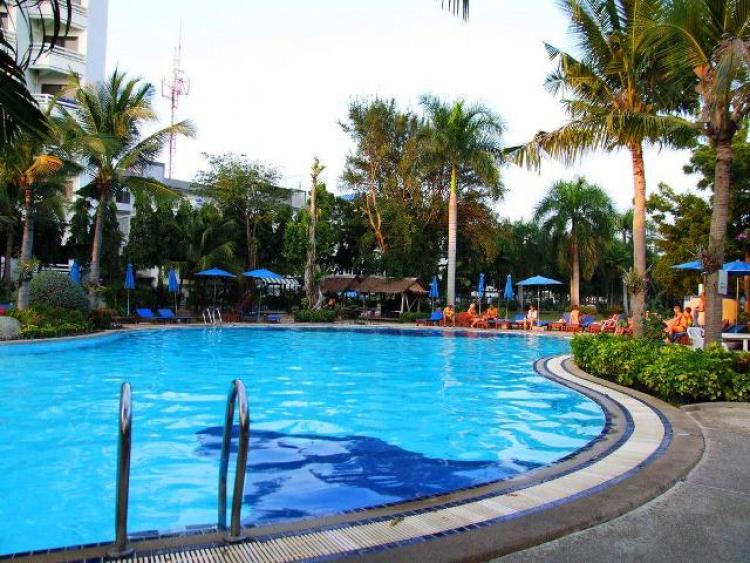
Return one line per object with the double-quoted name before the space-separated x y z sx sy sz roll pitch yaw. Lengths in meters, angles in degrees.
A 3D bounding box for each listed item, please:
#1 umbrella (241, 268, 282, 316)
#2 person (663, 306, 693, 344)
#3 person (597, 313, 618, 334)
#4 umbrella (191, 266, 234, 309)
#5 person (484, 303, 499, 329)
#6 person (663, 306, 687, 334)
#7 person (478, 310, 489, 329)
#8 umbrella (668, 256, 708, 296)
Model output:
"umbrella" -6.927 0.626 36.037 2.537 3.215 2.784 5 7 -4
"person" 9.745 1.455 19.672 0.548 1.508 0.782 -8 20 -29
"person" 11.954 2.093 31.201 0.909 1.010 0.699 -2 -2 13
"umbrella" -9.909 0.308 37.470 2.163 2.694 2.325 0 -1 38
"person" 7.321 2.096 38.053 1.093 2.002 1.022 -1 -3 27
"person" 10.348 1.285 20.942 0.525 0.988 0.689 4 -4 7
"person" 6.359 2.141 34.642 0.665 1.031 0.721 1 -4 2
"umbrella" 13.673 -0.347 26.572 1.534 0.887 1.630 4 6 30
